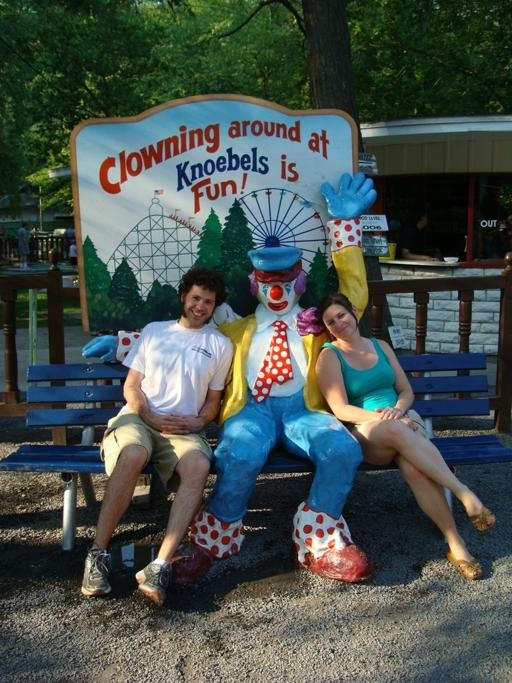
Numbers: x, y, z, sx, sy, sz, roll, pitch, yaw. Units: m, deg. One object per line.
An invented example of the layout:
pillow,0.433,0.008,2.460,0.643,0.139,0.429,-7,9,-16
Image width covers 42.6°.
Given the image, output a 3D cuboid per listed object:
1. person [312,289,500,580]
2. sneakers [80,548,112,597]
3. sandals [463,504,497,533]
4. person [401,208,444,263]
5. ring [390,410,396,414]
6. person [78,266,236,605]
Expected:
person,0.660,0.350,2.872,0.458,1.099,0.929,-6,9,-32
sneakers,-0.609,0.862,2.456,0.113,0.188,0.079,-1,8,-5
sandals,0.889,0.692,2.589,0.073,0.050,0.130,-37,12,1
person,2.268,-1.473,9.175,0.641,0.680,0.659,4,8,29
ring,0.596,0.302,2.848,0.022,0.018,0.042,0,7,8
person,-0.392,0.310,2.712,0.576,1.229,0.976,-1,7,-1
